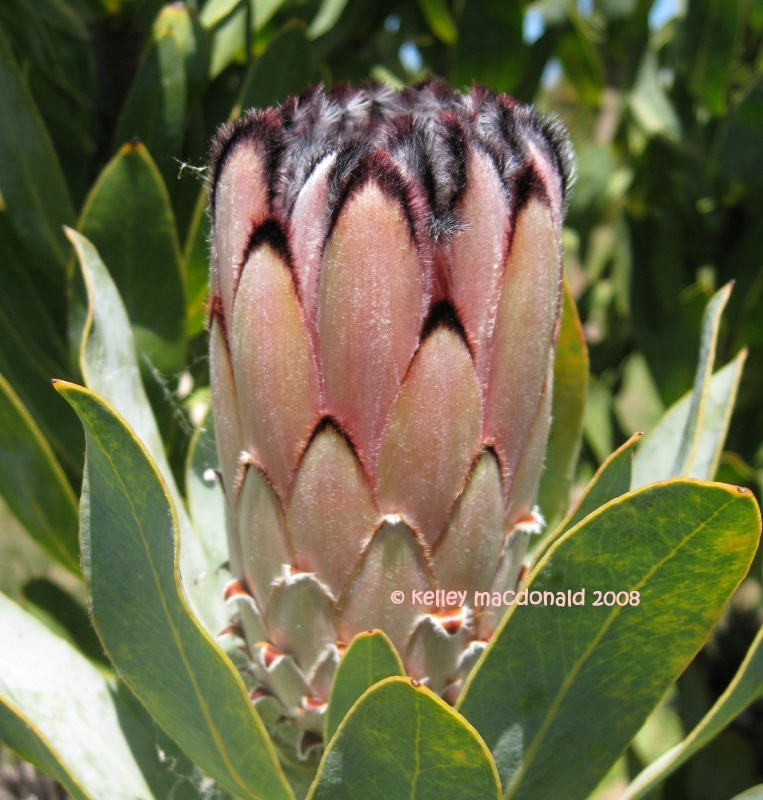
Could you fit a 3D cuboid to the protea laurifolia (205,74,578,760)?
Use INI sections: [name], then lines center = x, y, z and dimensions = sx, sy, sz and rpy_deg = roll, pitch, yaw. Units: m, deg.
[protea laurifolia]
center = 0.007, 0.019, 1.025
dimensions = 0.307, 0.527, 0.298
rpy_deg = 3, 29, 10
